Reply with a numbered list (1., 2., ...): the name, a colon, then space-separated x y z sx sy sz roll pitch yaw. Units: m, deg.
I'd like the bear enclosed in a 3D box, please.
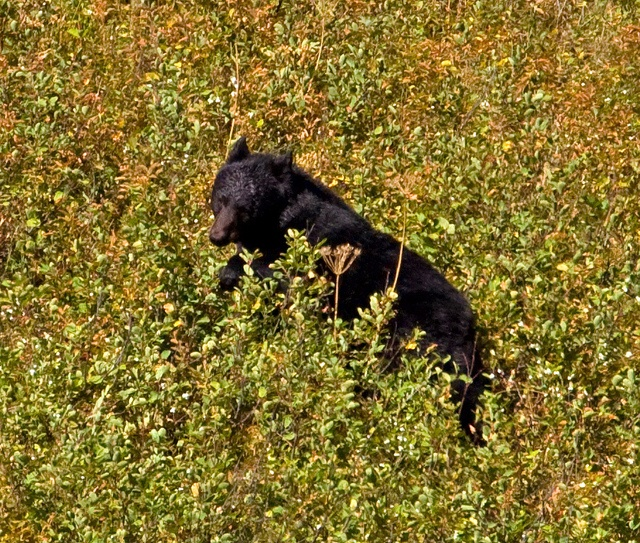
1. bear: 0.230 0.211 9.659 3.061 0.688 1.493 34 106 1
